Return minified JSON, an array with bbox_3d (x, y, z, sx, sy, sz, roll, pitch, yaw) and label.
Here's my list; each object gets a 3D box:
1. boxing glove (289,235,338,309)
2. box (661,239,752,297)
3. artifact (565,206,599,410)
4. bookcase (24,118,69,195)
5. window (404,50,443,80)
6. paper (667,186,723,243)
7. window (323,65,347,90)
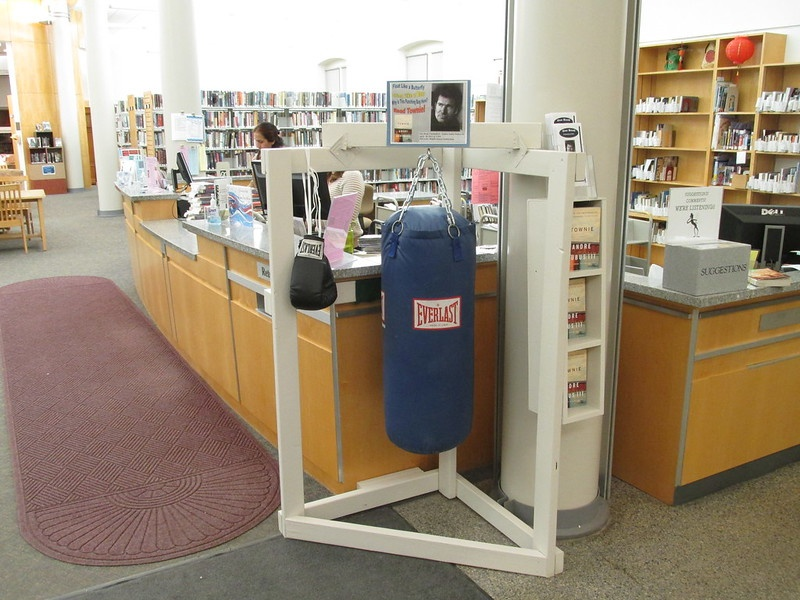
[{"bbox_3d":[-0.407,-0.125,2.748,0.208,0.327,0.165,-5,18,-11],"label":"boxing glove"},{"bbox_3d":[1.625,-0.173,3.177,0.392,0.248,0.205,-7,15,-24],"label":"box"},{"bbox_3d":[0.856,0.043,2.828,0.139,0.929,0.237,5,19,18],"label":"artifact"},{"bbox_3d":[-9.636,-3.796,16.258,0.974,1.885,0.623,-12,21,-30],"label":"bookcase"},{"bbox_3d":[0.505,-5.196,13.382,0.436,0.542,1.347,-12,22,-30],"label":"window"},{"bbox_3d":[1.586,-0.450,3.230,0.324,0.325,0.039,-2,8,-9],"label":"paper"},{"bbox_3d":[-1.807,-6.214,16.806,0.314,0.786,0.892,-6,11,-32],"label":"window"}]
